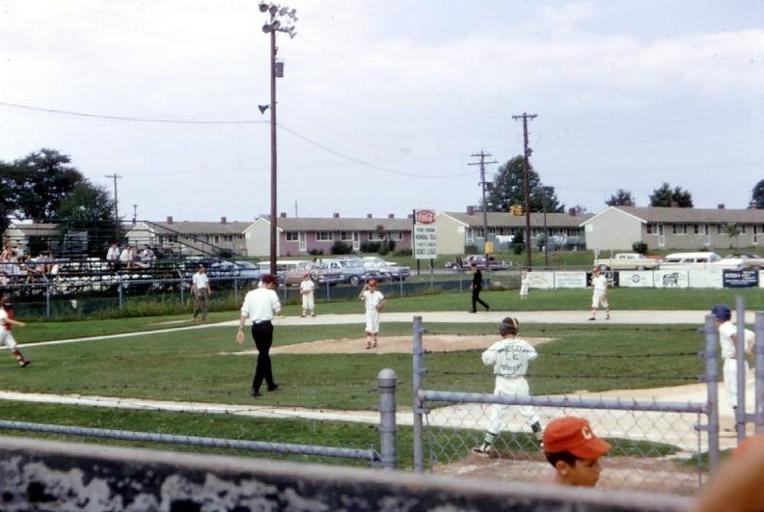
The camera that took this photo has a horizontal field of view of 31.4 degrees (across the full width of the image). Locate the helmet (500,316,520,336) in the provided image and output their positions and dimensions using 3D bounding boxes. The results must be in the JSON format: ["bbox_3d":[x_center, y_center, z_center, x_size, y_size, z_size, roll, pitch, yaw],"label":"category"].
[{"bbox_3d":[3.941,2.204,42.084,0.470,0.517,0.600,2,0,-37],"label":"helmet"}]

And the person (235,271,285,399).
[{"bbox_3d":[-3.993,2.665,45.518,1.192,3.953,1.003,-1,2,-23],"label":"person"}]
